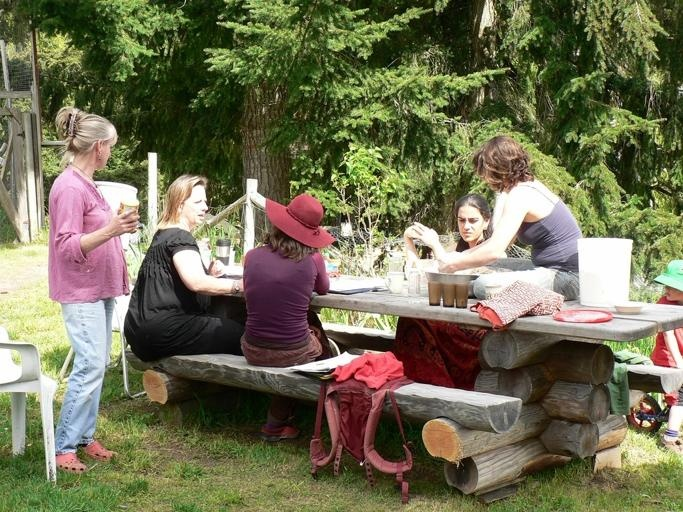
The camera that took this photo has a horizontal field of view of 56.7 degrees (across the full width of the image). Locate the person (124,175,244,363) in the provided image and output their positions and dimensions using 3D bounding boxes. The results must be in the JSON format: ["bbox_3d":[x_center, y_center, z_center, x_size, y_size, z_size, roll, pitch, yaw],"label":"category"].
[{"bbox_3d":[-1.156,0.329,5.370,1.233,1.921,0.937,-2,-9,-15],"label":"person"}]

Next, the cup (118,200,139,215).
[{"bbox_3d":[-1.348,-0.316,4.030,0.096,0.112,0.093,5,16,-1],"label":"cup"}]

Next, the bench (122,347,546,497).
[{"bbox_3d":[-0.300,1.000,4.802,3.309,0.661,0.749,7,12,30],"label":"bench"}]

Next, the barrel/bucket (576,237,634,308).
[{"bbox_3d":[1.685,0.094,4.084,0.390,0.490,0.398,0,2,0],"label":"barrel/bucket"}]

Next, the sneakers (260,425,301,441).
[{"bbox_3d":[-0.474,1.385,4.952,0.294,0.151,0.119,0,2,-16],"label":"sneakers"}]

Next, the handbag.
[{"bbox_3d":[1.101,0.295,3.951,0.358,0.119,0.342,-17,24,-30],"label":"handbag"}]

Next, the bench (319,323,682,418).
[{"bbox_3d":[1.108,0.786,4.288,1.749,0.318,0.181,5,-14,28],"label":"bench"}]

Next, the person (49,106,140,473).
[{"bbox_3d":[-1.708,0.237,4.338,0.586,2.454,0.687,-4,11,-25],"label":"person"}]

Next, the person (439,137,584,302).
[{"bbox_3d":[1.281,-0.316,4.776,1.033,1.214,1.088,-3,8,2],"label":"person"}]

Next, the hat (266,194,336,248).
[{"bbox_3d":[-0.313,-0.273,4.591,0.415,0.200,0.405,33,26,11],"label":"hat"}]
